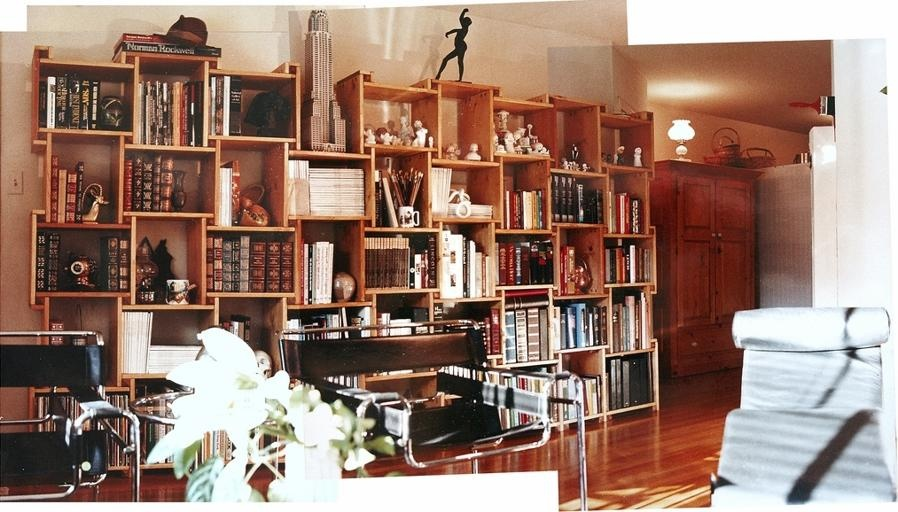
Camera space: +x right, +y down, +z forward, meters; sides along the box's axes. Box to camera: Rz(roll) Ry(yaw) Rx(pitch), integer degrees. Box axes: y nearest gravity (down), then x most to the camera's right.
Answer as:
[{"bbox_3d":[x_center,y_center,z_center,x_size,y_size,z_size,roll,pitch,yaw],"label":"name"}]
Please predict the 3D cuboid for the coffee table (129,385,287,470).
[{"bbox_3d":[-1.518,0.964,4.498,0.849,0.167,0.746,8,5,12],"label":"coffee table"}]

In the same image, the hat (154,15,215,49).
[{"bbox_3d":[-1.686,-1.464,4.785,0.258,0.172,0.156,5,37,-14],"label":"hat"}]

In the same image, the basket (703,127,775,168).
[{"bbox_3d":[2.079,-0.765,5.203,0.479,0.314,0.271,5,4,26],"label":"basket"}]

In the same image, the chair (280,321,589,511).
[{"bbox_3d":[-0.077,0.986,4.591,1.877,1.150,0.992,-1,-2,-11],"label":"chair"}]
